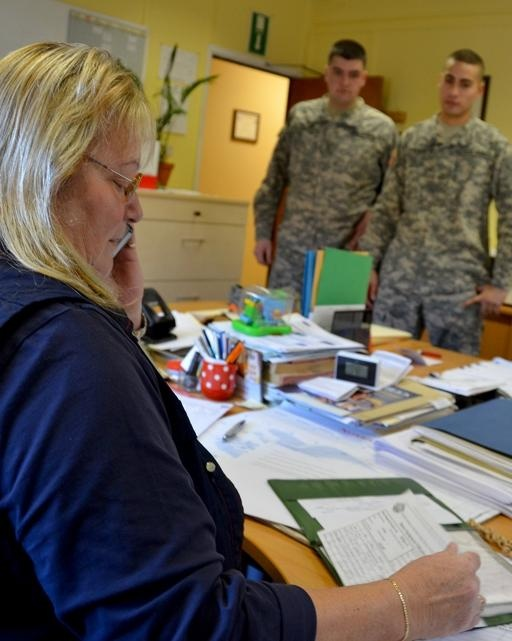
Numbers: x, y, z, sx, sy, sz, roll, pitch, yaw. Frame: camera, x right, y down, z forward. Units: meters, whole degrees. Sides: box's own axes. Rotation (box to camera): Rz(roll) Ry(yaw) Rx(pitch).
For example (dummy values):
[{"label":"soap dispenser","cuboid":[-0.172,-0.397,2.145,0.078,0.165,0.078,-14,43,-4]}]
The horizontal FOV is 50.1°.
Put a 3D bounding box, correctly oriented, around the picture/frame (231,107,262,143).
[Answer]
[{"label":"picture/frame","cuboid":[-0.090,-2.084,5.817,0.337,0.308,0.082,-8,17,-43]}]
